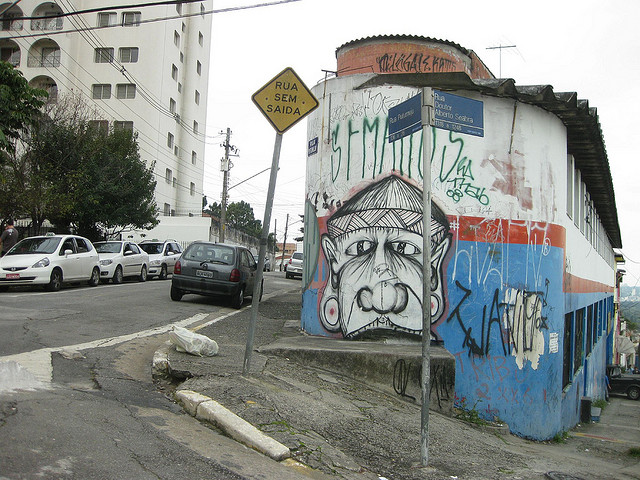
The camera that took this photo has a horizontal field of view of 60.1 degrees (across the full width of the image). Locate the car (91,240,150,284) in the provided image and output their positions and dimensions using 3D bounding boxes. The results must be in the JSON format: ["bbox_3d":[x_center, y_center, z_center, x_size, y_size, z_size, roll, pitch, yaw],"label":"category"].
[{"bbox_3d":[-8.060,0.743,22.052,1.383,1.245,2.480,-2,-8,17],"label":"car"}]

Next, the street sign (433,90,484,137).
[{"bbox_3d":[1.734,-1.626,7.002,0.930,0.505,0.183,12,-10,-31],"label":"street sign"}]

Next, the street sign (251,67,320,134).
[{"bbox_3d":[-0.500,-1.938,7.668,0.846,0.070,1.024,5,-38,-4],"label":"street sign"}]

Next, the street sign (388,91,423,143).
[{"bbox_3d":[1.058,-1.520,6.944,0.008,0.493,0.619,8,-12,-35],"label":"street sign"}]

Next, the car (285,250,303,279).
[{"bbox_3d":[-1.711,1.884,37.102,1.273,1.296,2.518,2,7,1],"label":"car"}]
